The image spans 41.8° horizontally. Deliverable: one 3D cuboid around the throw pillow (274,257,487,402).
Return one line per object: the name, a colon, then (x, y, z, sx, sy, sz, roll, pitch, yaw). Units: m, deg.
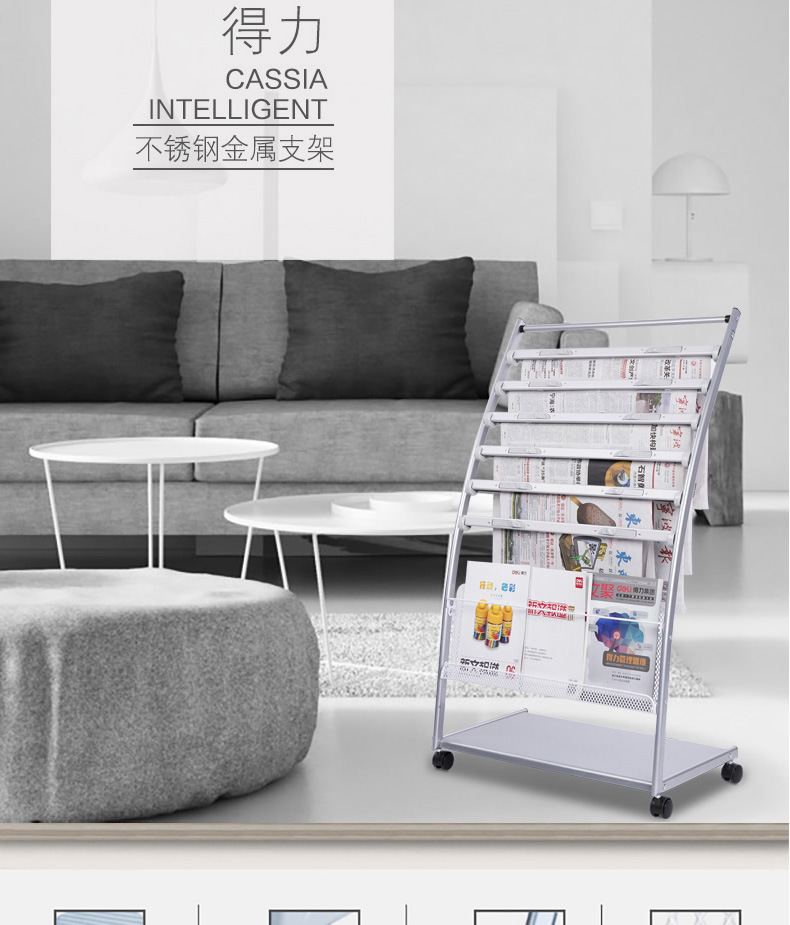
throw pillow: (-0.049, -0.402, 3.266, 0.530, 0.378, 0.185, 0, -4, 0)

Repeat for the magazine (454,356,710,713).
magazine: (0.244, 0.079, 1.427, 0.347, 0.467, 0.247, 9, 16, 30)

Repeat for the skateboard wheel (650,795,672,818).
skateboard wheel: (0.322, 0.416, 1.254, 0.025, 0.024, 0.017, 27, -20, -36)

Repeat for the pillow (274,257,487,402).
pillow: (-0.049, -0.402, 3.266, 0.530, 0.378, 0.185, 0, -4, 0)

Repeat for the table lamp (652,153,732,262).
table lamp: (1.372, -1.159, 4.799, 0.348, 0.469, 0.343, -2, 12, -4)

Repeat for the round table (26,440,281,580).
round table: (-0.516, 0.122, 2.224, 0.516, 0.316, 0.509, 3, 7, 0)

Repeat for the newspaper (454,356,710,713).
newspaper: (0.244, 0.079, 1.427, 0.347, 0.467, 0.247, 9, 16, 30)

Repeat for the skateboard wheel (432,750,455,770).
skateboard wheel: (0.068, 0.417, 1.453, 0.031, 0.030, 0.028, 6, -8, 1)
